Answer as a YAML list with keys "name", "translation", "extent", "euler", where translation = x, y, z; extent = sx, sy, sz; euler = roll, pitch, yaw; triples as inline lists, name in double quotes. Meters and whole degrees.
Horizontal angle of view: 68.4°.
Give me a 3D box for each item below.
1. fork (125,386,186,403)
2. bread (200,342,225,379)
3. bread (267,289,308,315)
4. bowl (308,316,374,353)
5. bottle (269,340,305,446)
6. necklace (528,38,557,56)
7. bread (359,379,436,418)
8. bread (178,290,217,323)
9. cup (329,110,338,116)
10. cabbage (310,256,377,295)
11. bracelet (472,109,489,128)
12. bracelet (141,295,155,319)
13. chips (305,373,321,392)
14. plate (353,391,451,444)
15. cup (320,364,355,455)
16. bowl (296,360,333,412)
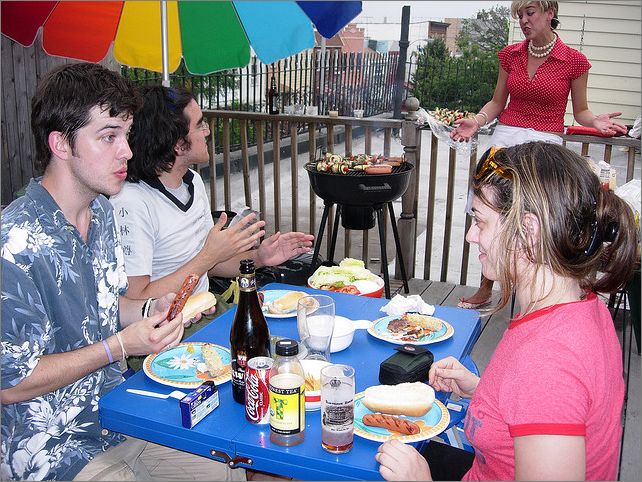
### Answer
- name: "fork"
  translation: [-0.532, 0.493, 1.514]
  extent: [0.154, 0.023, 0.028]
  euler: [6, 34, 8]
- name: "bread"
  translation: [-0.370, 0.398, 1.592]
  extent: [0.058, 0.039, 0.107]
  euler: [-18, 60, -16]
- name: "bread"
  translation: [-0.153, 0.243, 1.983]
  extent: [0.075, 0.049, 0.152]
  euler: [13, 17, 30]
- name: "bowl"
  translation: [0.078, 0.343, 1.762]
  extent: [0.208, 0.083, 0.140]
  euler: [3, 10, -9]
- name: "bottle"
  translation: [-0.096, 0.439, 1.309]
  extent: [0.103, 0.241, 0.081]
  euler: [0, 12, -6]
- name: "necklace"
  translation: [1.674, -1.464, 3.572]
  extent: [0.196, 0.140, 0.106]
  euler: [7, 13, 25]
- name: "bread"
  translation: [0.234, 0.465, 1.415]
  extent: [0.158, 0.055, 0.098]
  euler: [1, 16, 10]
- name: "bread"
  translation: [-0.480, 0.248, 1.820]
  extent: [0.085, 0.034, 0.111]
  euler: [13, 30, 41]
- name: "cup"
  translation: [0.121, -1.282, 4.736]
  extent: [0.078, 0.060, 0.193]
  euler: [1, 12, -2]
- name: "cabbage"
  translation: [0.111, 0.190, 2.428]
  extent: [0.210, 0.124, 0.220]
  euler: [-5, 6, -23]
- name: "bracelet"
  translation: [1.348, -1.032, 3.987]
  extent: [0.080, 0.120, 0.154]
  euler: [2, 4, -32]
- name: "bracelet"
  translation: [-0.713, 0.273, 1.929]
  extent: [0.025, 0.066, 0.041]
  euler: [16, -15, -7]
- name: "chips"
  translation: [-0.029, 0.444, 1.477]
  extent: [0.047, 0.016, 0.081]
  euler: [-6, 42, -15]
- name: "plate"
  translation: [0.244, 0.528, 1.391]
  extent: [0.275, 0.042, 0.287]
  euler: [0, 4, 26]
- name: "cup"
  translation: [0.040, 0.459, 1.296]
  extent: [0.099, 0.216, 0.105]
  euler: [2, 12, 0]
- name: "bowl"
  translation: [-0.030, 0.445, 1.499]
  extent: [0.131, 0.061, 0.131]
  euler: [0, 7, 0]
